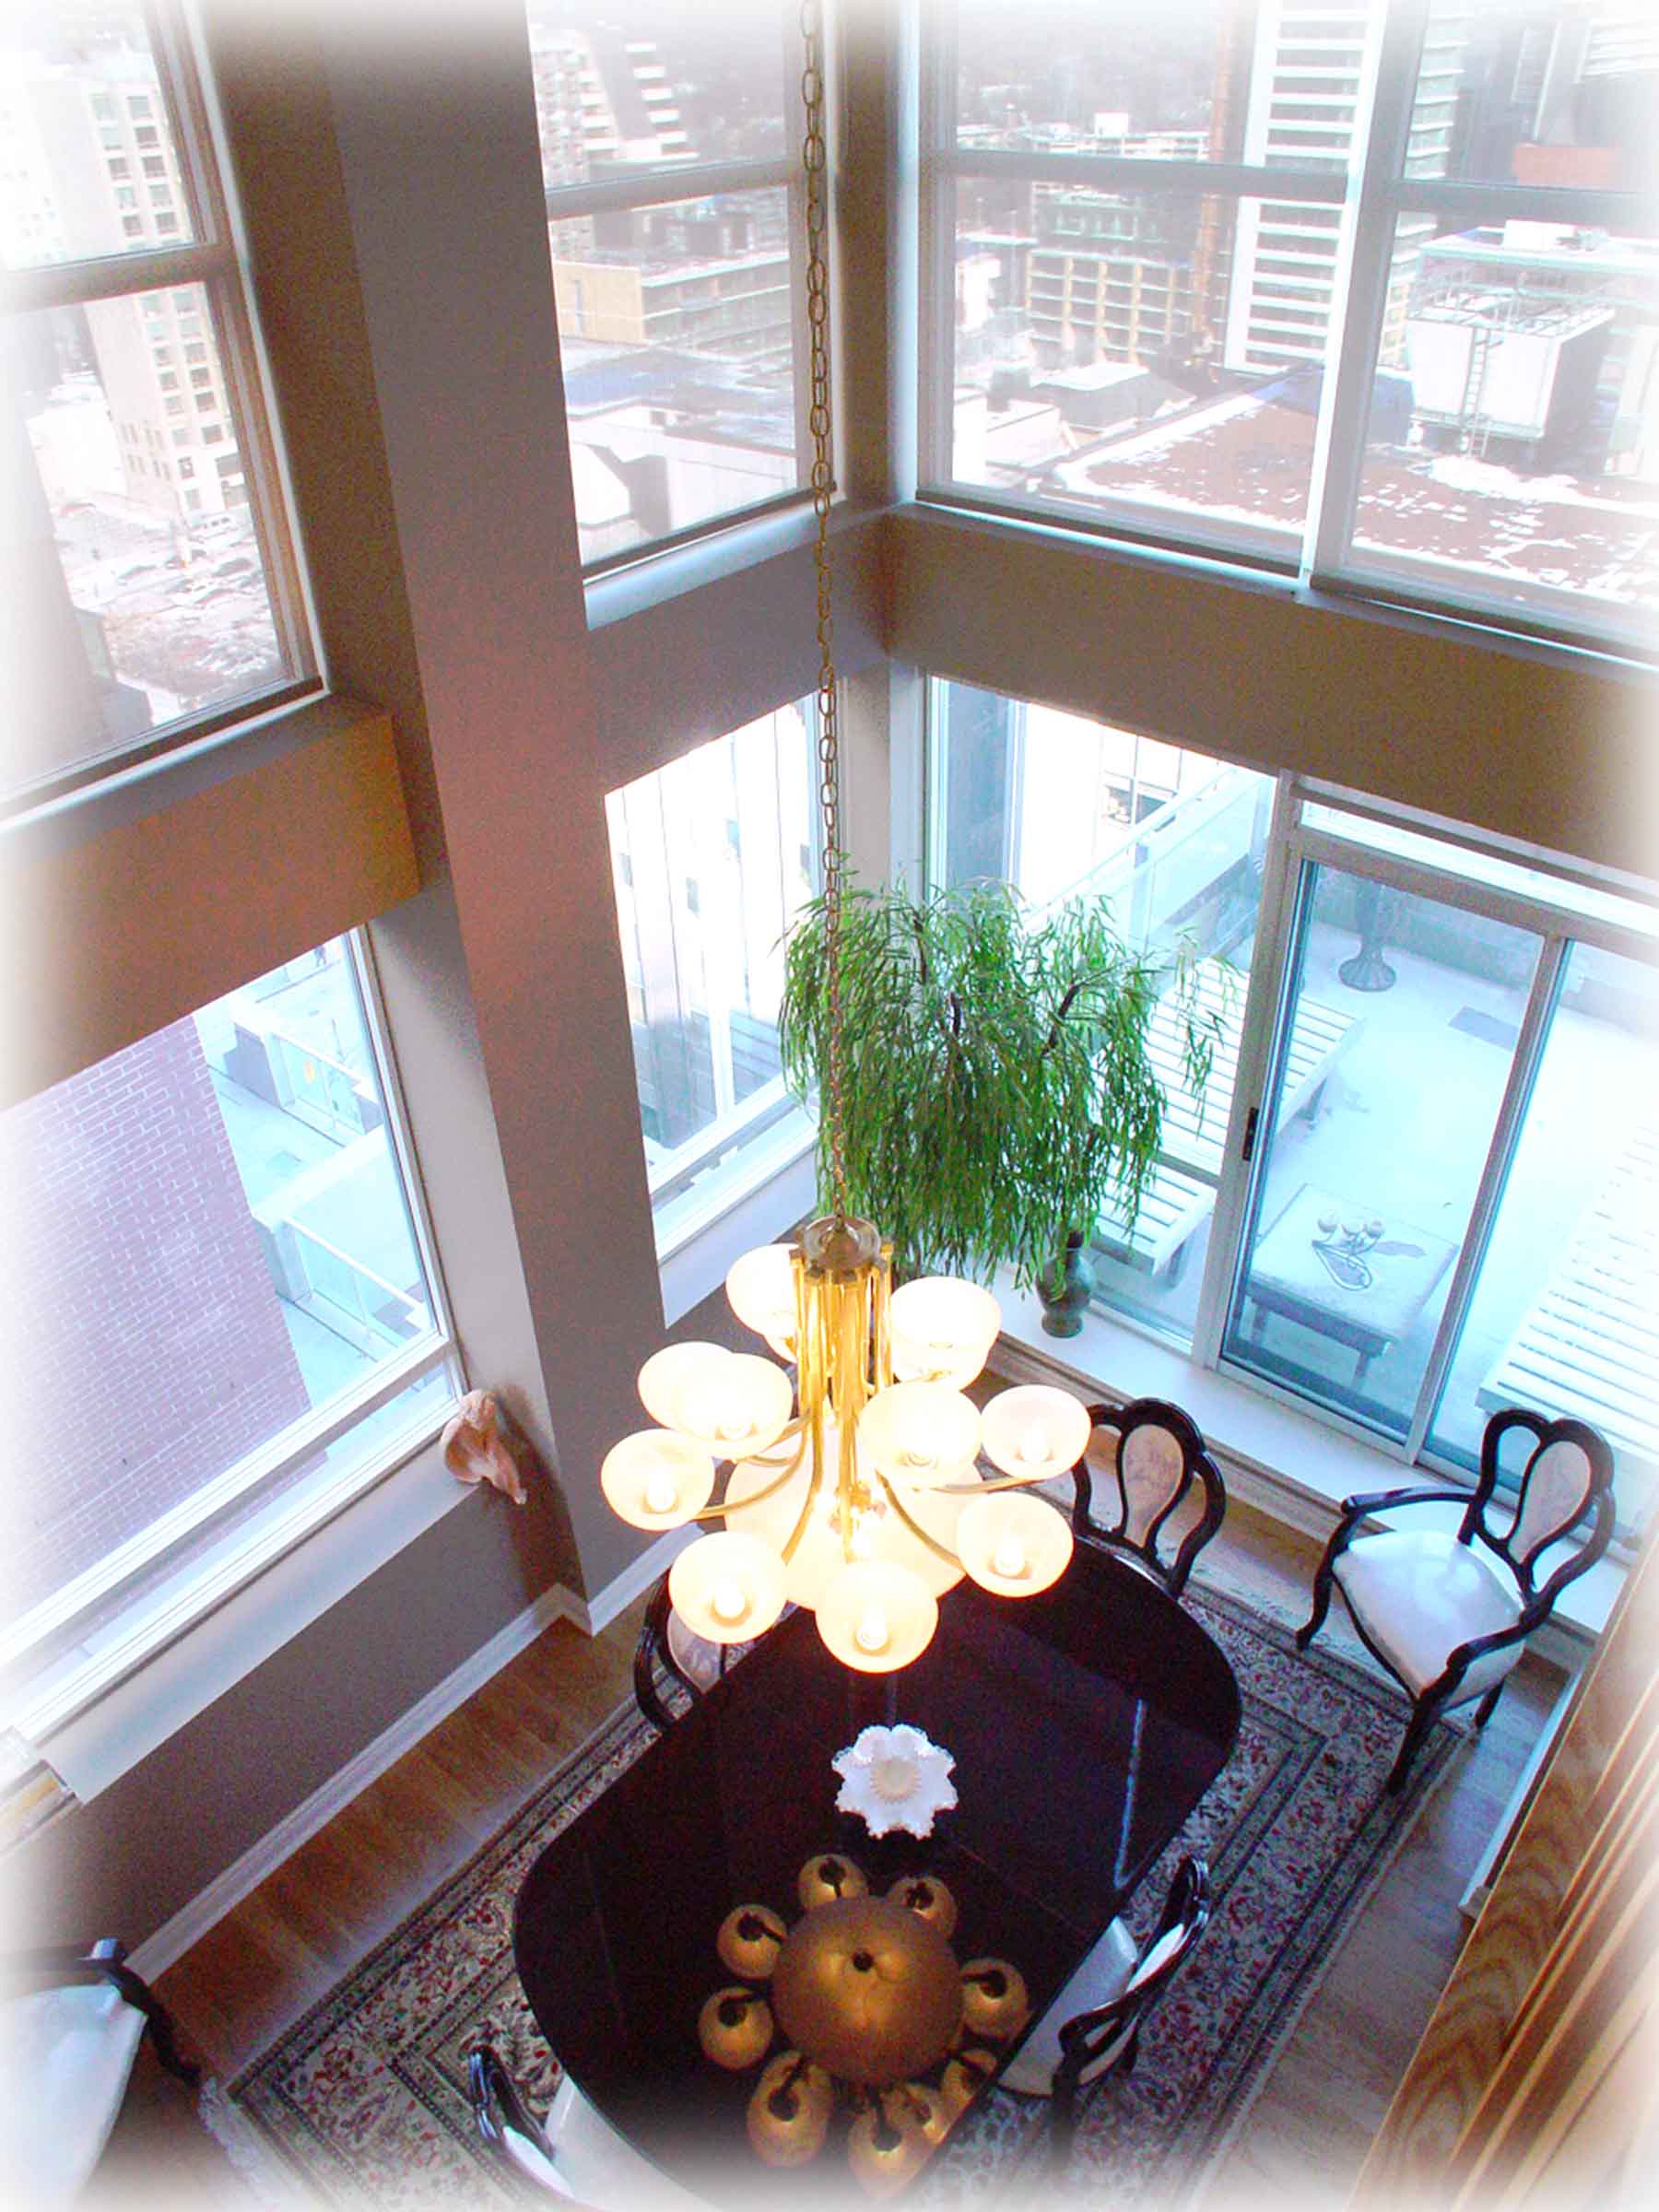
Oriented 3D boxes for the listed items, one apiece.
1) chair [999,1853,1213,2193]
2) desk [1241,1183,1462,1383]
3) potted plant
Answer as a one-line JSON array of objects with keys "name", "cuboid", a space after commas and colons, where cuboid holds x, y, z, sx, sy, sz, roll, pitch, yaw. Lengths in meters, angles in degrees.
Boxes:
[{"name": "chair", "cuboid": [0.628, 2.184, 3.596, 0.409, 0.902, 0.417, 19, 40, 13]}, {"name": "desk", "cuboid": [1.811, 0.477, 5.502, 0.632, 0.645, 0.696, 32, 85, 21]}, {"name": "potted plant", "cuboid": [0.660, -0.055, 5.176, 0.954, 1.314, 1.131, 8, -10, -34]}]
